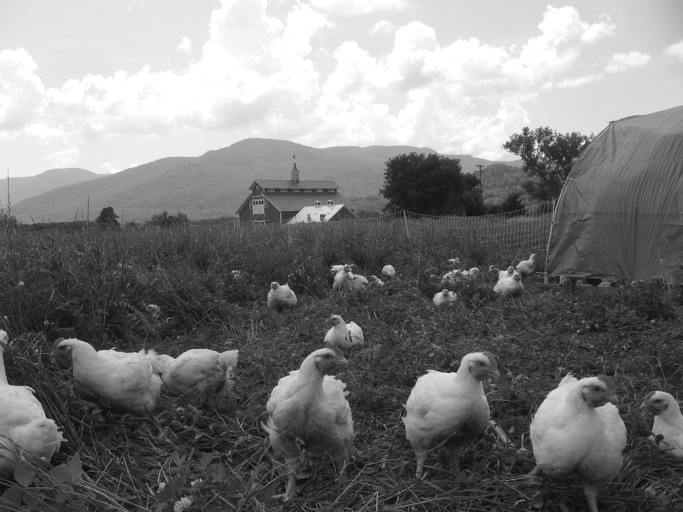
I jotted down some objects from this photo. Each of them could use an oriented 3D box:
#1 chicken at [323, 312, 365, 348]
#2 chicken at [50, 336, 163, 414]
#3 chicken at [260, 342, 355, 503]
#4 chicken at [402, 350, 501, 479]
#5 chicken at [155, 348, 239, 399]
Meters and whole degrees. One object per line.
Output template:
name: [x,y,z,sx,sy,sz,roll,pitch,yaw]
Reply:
chicken: [0.028,1.106,8.088,0.389,0.461,0.585,-3,-4,16]
chicken: [-2.569,1.363,6.153,1.119,0.978,0.656,0,-12,-25]
chicken: [-0.336,1.651,5.834,0.913,1.716,1.462,-2,4,-11]
chicken: [1.035,1.510,5.552,0.782,1.198,0.646,-2,15,-21]
chicken: [-1.610,1.358,6.284,0.830,0.462,0.418,-1,15,-15]
